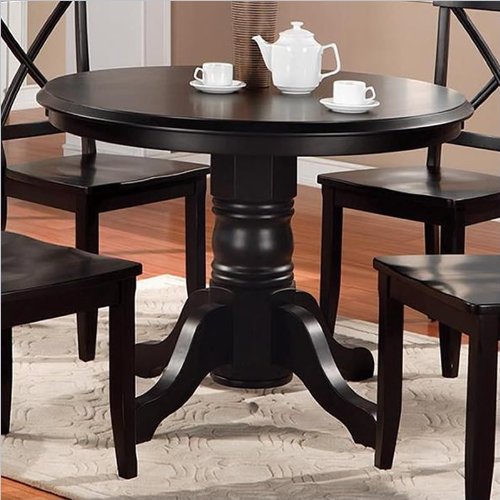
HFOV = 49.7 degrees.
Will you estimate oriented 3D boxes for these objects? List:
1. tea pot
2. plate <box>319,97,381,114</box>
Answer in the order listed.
[{"bbox_3d":[0.102,-0.400,1.130,0.121,0.140,0.139,3,11,12],"label":"tea pot"},{"bbox_3d":[0.179,-0.262,0.985,0.110,0.034,0.116,3,11,12],"label":"plate"}]
